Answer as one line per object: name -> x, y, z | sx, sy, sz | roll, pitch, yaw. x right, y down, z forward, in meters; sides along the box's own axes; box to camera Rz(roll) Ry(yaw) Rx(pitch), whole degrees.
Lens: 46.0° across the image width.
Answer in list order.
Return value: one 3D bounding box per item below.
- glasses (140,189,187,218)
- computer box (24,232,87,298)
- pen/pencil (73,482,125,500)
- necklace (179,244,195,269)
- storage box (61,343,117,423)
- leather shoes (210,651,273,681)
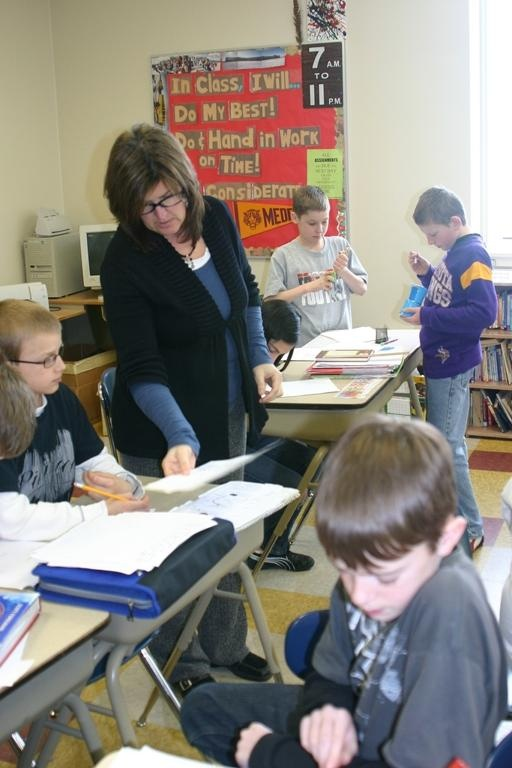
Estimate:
glasses -> -0.213, -0.420, 1.398 | 0.100, 0.042, 0.054 | -7, 16, -5
computer box -> -1.550, -0.923, 4.646 | 0.275, 0.463, 0.447 | 2, 19, 7
pen/pencil -> -0.341, 0.233, 1.329 | 0.161, 0.021, 0.022 | 13, -2, 31
necklace -> -0.177, -0.322, 1.537 | 0.037, 0.064, 0.019 | -9, -28, -28
storage box -> -1.135, -0.025, 4.349 | 0.436, 0.305, 0.261 | -13, 2, 31
leather shoes -> -0.059, 0.849, 1.871 | 0.209, 0.083, 0.072 | 0, 12, 22
